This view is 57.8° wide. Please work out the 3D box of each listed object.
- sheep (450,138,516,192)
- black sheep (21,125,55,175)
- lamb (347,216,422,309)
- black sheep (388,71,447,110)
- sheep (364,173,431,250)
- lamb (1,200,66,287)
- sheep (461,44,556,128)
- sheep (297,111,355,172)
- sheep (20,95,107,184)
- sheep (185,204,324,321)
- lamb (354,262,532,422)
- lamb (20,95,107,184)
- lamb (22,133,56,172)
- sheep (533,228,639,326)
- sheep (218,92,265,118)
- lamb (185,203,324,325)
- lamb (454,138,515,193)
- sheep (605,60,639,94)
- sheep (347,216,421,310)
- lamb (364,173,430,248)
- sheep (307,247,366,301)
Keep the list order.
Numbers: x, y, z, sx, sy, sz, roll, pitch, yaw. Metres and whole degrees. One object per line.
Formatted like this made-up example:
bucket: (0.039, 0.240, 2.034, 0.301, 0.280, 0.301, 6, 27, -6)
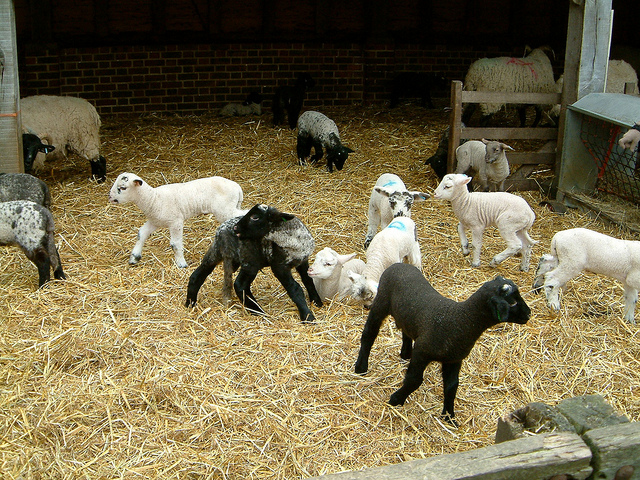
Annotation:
sheep: (2.420, -1.093, 8.517, 0.573, 0.812, 1.221, -5, 18, -11)
black sheep: (-4.038, -1.303, 8.471, 0.535, 0.617, 0.885, 5, 13, -21)
lamb: (0.638, 0.227, 5.777, 0.470, 0.664, 1.230, 9, 37, 26)
black sheep: (2.306, -3.549, 13.852, 1.281, 0.809, 0.647, 3, 21, 3)
sheep: (0.798, -0.377, 6.600, 0.518, 0.705, 1.196, -1, 13, -2)
lamb: (-2.894, 0.027, 5.872, 0.523, 0.795, 0.410, 13, 24, 28)
sheep: (3.639, -2.824, 10.970, 2.179, 1.571, 0.959, -12, 20, -24)
sheep: (0.051, -1.617, 9.791, 0.612, 0.936, 1.363, -13, 35, -30)
sheep: (-4.251, -1.656, 9.244, 1.881, 1.225, 0.840, -2, 19, -4)
sheep: (-0.629, 0.217, 5.769, 0.641, 1.104, 1.796, -24, 18, -37)
lamb: (0.838, 0.728, 4.254, 0.677, 1.237, 1.501, -9, 17, -29)
lamb: (-4.391, -1.574, 8.999, 0.840, 1.272, 1.959, 14, 17, 35)
lamb: (-4.025, -1.243, 8.290, 0.375, 0.347, 0.593, 11, 14, -30)
sheep: (2.601, 0.336, 5.578, 0.958, 0.844, 0.464, 9, 23, 19)
sheep: (-1.784, -3.067, 13.182, 1.008, 0.496, 0.500, -3, 22, -13)
lamb: (-0.634, 0.225, 5.668, 1.616, 0.967, 0.561, 7, 12, 44)
lamb: (2.383, -1.076, 8.512, 0.580, 0.841, 1.185, -8, 18, -16)
sheep: (5.660, -3.056, 10.881, 0.474, 0.554, 0.803, 16, 25, 32)
sheep: (0.699, 0.271, 5.917, 0.443, 0.724, 1.394, 11, 35, 23)
lamb: (0.829, -0.371, 6.645, 0.503, 0.606, 1.143, -3, 10, -3)
sheep: (0.136, 0.326, 5.827, 0.348, 0.458, 0.761, 7, 13, 24)
